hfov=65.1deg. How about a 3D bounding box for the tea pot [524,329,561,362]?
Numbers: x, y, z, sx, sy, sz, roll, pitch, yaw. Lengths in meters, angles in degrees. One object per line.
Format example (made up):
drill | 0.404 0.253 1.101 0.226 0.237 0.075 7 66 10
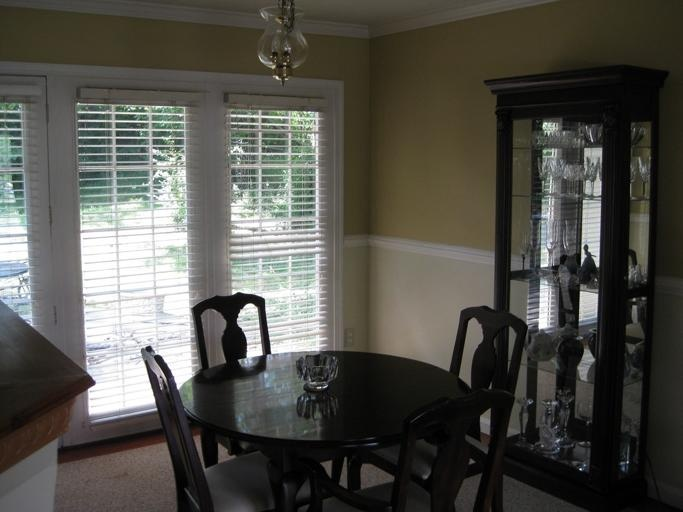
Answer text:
tea pot | 1.188 0.530 3.180 0.142 0.185 0.061 3 -10 34

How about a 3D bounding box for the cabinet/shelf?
cabinet/shelf | 1.299 0.183 3.011 0.915 2.375 0.671 4 15 19

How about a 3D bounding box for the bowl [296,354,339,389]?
bowl | -0.114 0.580 2.674 0.200 0.156 0.183 0 -18 0
